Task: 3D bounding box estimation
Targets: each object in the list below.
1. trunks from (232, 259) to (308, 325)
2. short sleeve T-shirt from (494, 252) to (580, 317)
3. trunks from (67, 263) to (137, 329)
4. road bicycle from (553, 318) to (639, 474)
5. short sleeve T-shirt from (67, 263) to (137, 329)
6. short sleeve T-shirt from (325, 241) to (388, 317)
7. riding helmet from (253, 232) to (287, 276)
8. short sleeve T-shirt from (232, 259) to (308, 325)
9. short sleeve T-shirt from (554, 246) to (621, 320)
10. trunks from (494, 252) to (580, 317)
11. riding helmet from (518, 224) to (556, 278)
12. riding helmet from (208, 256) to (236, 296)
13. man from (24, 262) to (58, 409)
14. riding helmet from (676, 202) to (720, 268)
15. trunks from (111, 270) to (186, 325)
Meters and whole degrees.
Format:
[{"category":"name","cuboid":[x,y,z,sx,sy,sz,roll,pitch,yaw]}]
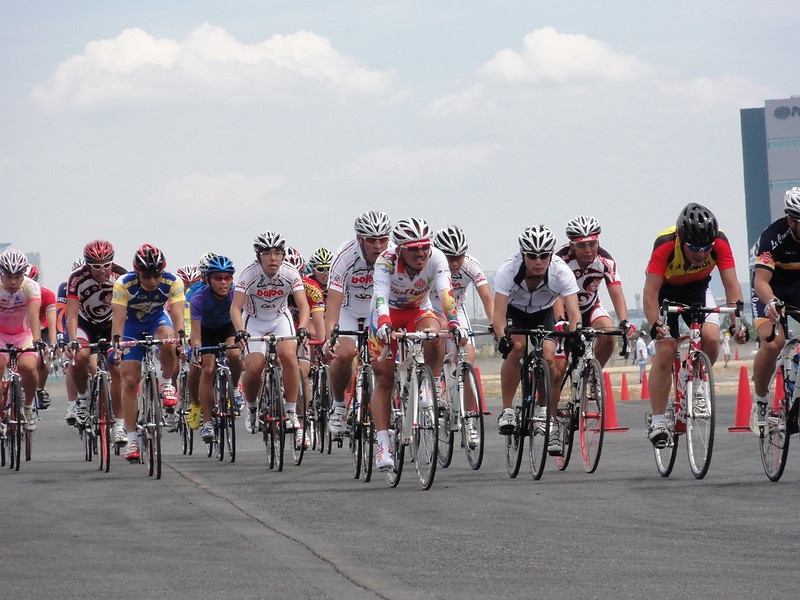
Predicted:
[{"category":"trunks","cuboid":[-1.563,-0.078,14.778,0.842,0.464,0.766,-1,-33,-13]},{"category":"short sleeve T-shirt","cuboid":[1.391,-0.148,12.753,0.616,0.398,0.493,7,-32,-2]},{"category":"trunks","cuboid":[-3.658,-0.126,15.363,0.964,0.384,0.860,2,-49,-8]},{"category":"road bicycle","cuboid":[1.777,0.917,12.779,0.877,1.368,2.196,4,2,-6]},{"category":"short sleeve T-shirt","cuboid":[-3.482,-0.070,14.535,0.920,0.366,0.853,0,-32,-20]},{"category":"short sleeve T-shirt","cuboid":[-0.423,-0.218,12.699,0.662,0.244,0.664,-20,-37,-38]},{"category":"riding helmet","cuboid":[-1.526,-0.539,14.472,0.325,0.459,0.562,-1,-4,-6]},{"category":"short sleeve T-shirt","cuboid":[-1.563,-0.078,14.778,0.842,0.464,0.766,-1,-33,-13]},{"category":"short sleeve T-shirt","cuboid":[1.975,-0.217,13.287,0.770,0.820,0.450,0,8,-6]},{"category":"trunks","cuboid":[1.393,-0.152,13.012,0.830,0.650,0.571,6,8,-1]},{"category":"riding helmet","cuboid":[1.369,-0.584,12.413,0.317,0.321,0.247,-1,-4,2]},{"category":"riding helmet","cuboid":[-2.058,-0.282,14.311,0.407,0.564,0.581,0,-5,-12]},{"category":"man","cuboid":[-5.144,0.565,17.945,0.812,1.921,0.984,-2,-3,-15]},{"category":"riding helmet","cuboid":[2.813,-0.639,11.714,0.399,0.538,0.521,-2,-5,13]},{"category":"trunks","cuboid":[-2.917,0.000,14.295,0.741,0.716,0.408,0,33,-14]}]
